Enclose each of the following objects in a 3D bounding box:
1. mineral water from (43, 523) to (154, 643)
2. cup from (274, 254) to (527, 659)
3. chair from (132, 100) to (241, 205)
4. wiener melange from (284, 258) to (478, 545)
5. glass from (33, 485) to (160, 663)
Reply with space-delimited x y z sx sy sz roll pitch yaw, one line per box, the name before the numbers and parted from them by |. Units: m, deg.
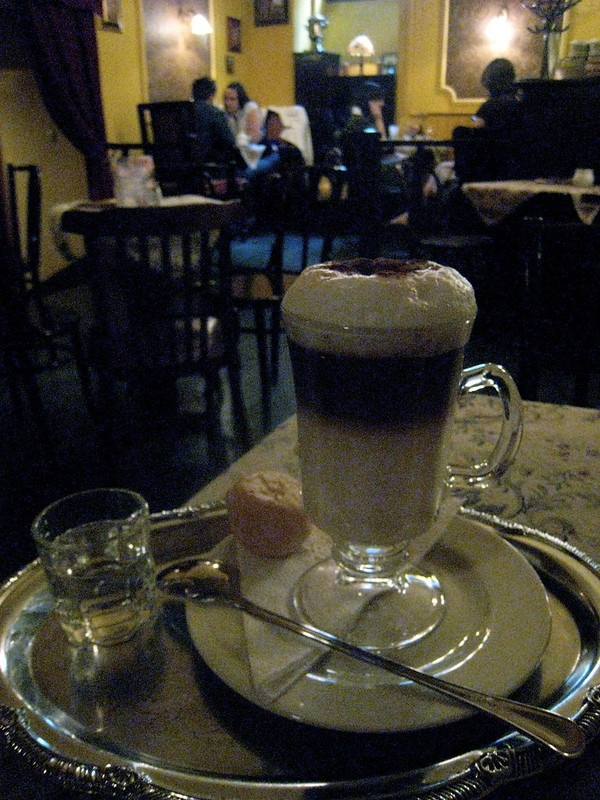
mineral water | -0.142 0.134 0.506 0.075 0.094 0.080 -7 -2 32
cup | 0.076 0.027 0.525 0.176 0.278 0.150 -2 22 -3
chair | -0.681 -1.506 4.050 0.677 0.556 1.931 -3 22 -5
wiener melange | 0.061 -0.003 0.510 0.134 0.212 0.143 8 27 23
glass | -0.133 0.128 0.499 0.062 0.101 0.059 -8 5 -21
